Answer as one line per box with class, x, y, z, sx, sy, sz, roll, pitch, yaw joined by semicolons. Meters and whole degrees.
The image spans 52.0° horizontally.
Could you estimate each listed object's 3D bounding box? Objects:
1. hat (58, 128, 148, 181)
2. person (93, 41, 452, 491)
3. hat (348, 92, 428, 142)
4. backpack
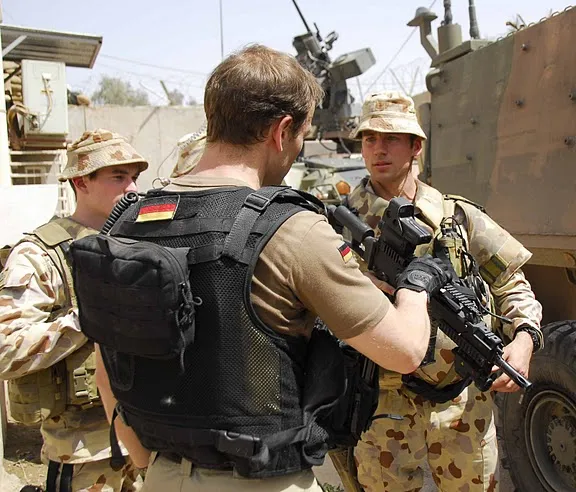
hat;-1.218;-0.594;3.801;0.584;0.322;0.545;-3;8;19
person;-0.062;0.139;2.219;1.198;1.745;0.511;4;11;6
hat;0.637;-0.823;3.793;0.482;0.299;0.411;3;3;-6
backpack;-0.550;0.169;2.086;0.439;0.451;0.246;11;20;22
